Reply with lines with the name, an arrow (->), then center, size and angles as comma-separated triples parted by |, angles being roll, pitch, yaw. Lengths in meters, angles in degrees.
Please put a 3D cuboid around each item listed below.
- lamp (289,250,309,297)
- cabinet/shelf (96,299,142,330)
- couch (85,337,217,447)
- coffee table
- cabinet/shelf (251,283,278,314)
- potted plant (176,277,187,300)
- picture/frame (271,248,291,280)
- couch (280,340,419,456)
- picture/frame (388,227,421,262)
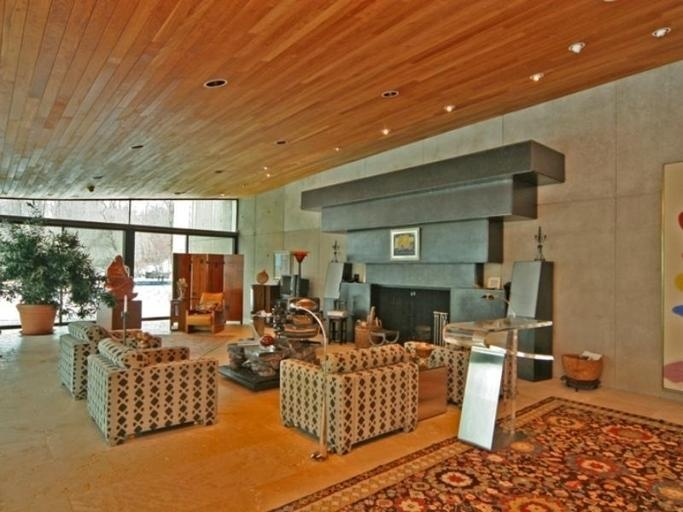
lamp -> -1.000, 0.387, 12.307 | 0.384, 1.083, 0.820 | 0, 11, -4
cabinet/shelf -> -4.722, 1.268, 10.704 | 0.797, 0.666, 0.723 | 1, -1, -37
couch -> -2.203, 1.478, 5.897 | 1.320, 0.970, 0.873 | -6, 13, -32
coffee table -> -1.061, 1.603, 7.586 | 0.956, 0.281, 0.929 | 3, -2, -40
cabinet/shelf -> -1.960, 1.089, 12.982 | 0.707, 0.678, 0.488 | -1, 12, -8
potted plant -> -3.977, 0.811, 12.466 | 0.257, 0.505, 0.567 | -2, 11, -13
picture/frame -> -1.586, 0.203, 13.211 | 0.095, 0.777, 0.913 | 2, -5, -32
couch -> 0.047, 1.497, 5.883 | 1.334, 0.885, 1.196 | 2, -2, -34
picture/frame -> 1.197, -0.230, 9.395 | 0.055, 0.548, 0.707 | 5, -7, -40
